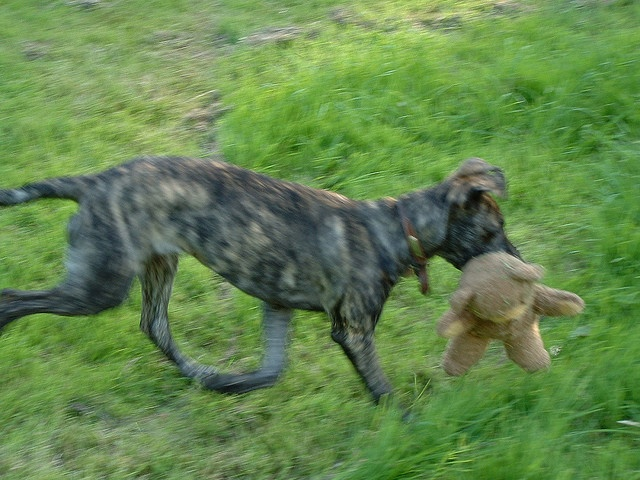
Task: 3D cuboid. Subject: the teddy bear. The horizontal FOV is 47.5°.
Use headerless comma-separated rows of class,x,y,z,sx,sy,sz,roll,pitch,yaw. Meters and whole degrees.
teddy bear,1.093,0.443,4.242,0.756,0.790,0.623,16,51,0
